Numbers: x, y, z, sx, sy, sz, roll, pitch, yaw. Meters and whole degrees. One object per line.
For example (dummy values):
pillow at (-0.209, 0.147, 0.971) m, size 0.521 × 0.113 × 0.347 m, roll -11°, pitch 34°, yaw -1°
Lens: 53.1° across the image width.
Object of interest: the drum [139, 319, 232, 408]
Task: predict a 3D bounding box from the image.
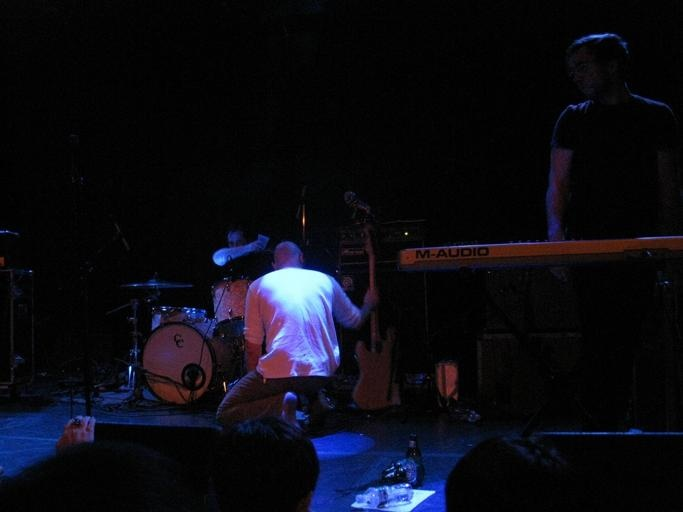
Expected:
drum at (-1.625, 1.100, 7.211) m, size 0.872 × 0.839 × 0.535 m, roll 0°, pitch -1°, yaw 17°

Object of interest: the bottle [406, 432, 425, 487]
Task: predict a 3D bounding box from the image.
bottle at (0.471, 1.276, 4.378) m, size 0.114 × 0.336 × 0.371 m, roll -1°, pitch -1°, yaw 7°

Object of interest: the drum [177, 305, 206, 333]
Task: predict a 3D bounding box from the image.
drum at (-1.536, 0.670, 7.159) m, size 0.248 × 0.246 × 0.245 m, roll 0°, pitch -3°, yaw -25°

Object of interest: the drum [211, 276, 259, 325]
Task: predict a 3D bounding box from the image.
drum at (-1.082, 0.483, 7.369) m, size 0.458 × 0.430 × 0.469 m, roll -4°, pitch -8°, yaw 23°

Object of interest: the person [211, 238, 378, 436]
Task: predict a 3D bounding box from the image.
person at (-0.405, 0.520, 5.070) m, size 0.531 × 1.297 × 1.097 m, roll -1°, pitch -1°, yaw 40°

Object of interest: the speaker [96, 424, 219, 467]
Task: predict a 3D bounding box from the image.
speaker at (-0.818, 0.826, 3.034) m, size 0.587 × 0.170 × 0.079 m, roll -2°, pitch 0°, yaw 17°

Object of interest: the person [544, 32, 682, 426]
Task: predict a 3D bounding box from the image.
person at (1.475, -0.158, 3.655) m, size 0.679 × 2.214 × 0.468 m, roll -1°, pitch 0°, yaw 9°

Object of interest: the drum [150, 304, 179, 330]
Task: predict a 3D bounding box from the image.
drum at (-1.906, 0.671, 7.400) m, size 0.289 × 0.295 × 0.286 m, roll 2°, pitch -6°, yaw -17°
